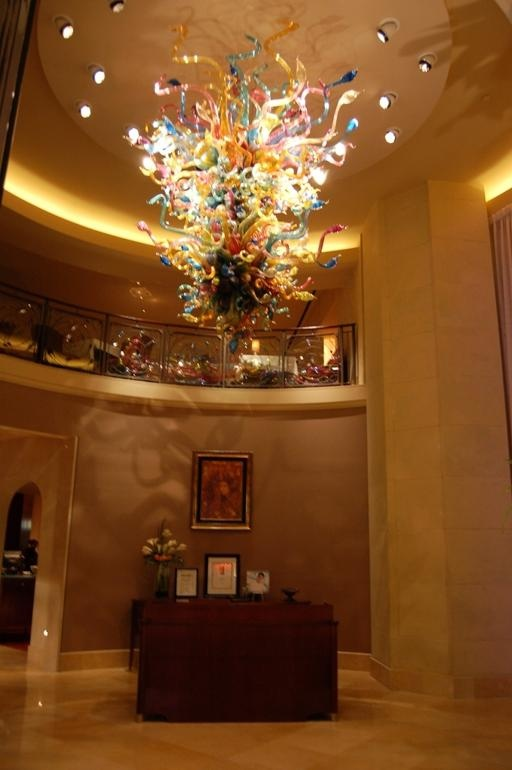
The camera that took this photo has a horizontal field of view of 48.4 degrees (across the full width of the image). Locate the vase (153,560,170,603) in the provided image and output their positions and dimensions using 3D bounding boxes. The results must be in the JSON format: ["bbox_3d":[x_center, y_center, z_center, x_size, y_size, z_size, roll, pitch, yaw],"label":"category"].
[{"bbox_3d":[-1.239,2.524,7.390,0.174,0.450,0.235,1,-12,0],"label":"vase"}]

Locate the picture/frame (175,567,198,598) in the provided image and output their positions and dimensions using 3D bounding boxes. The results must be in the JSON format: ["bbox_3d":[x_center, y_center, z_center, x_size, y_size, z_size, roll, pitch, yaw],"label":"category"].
[{"bbox_3d":[-0.918,2.630,7.559,0.357,0.506,0.054,5,-24,-10],"label":"picture/frame"}]

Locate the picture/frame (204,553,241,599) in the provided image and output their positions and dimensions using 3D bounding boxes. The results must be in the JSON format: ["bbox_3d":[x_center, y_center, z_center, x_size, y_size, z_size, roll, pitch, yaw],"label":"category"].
[{"bbox_3d":[-0.463,2.633,7.777,0.536,0.655,0.047,1,-35,-5],"label":"picture/frame"}]

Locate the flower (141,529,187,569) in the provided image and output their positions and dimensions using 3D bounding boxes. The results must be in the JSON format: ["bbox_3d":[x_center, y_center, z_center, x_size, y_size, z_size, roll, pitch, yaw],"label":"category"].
[{"bbox_3d":[-1.233,2.281,7.654,0.534,0.509,0.517,7,-20,-4],"label":"flower"}]

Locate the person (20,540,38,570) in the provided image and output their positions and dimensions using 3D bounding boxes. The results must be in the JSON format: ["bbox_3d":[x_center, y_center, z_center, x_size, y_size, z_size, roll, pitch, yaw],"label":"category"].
[{"bbox_3d":[-4.585,3.444,11.506,0.272,0.557,1.078,6,-13,-22],"label":"person"}]
